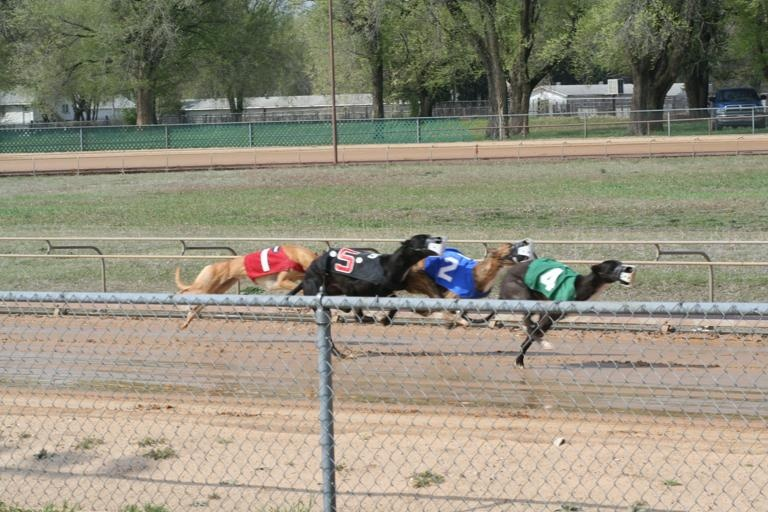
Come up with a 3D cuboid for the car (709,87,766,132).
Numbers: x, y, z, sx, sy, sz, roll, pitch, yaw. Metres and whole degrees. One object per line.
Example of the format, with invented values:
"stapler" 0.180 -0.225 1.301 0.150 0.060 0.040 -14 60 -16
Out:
"car" 13.533 -5.617 55.958 1.688 1.047 2.724 -1 3 9
